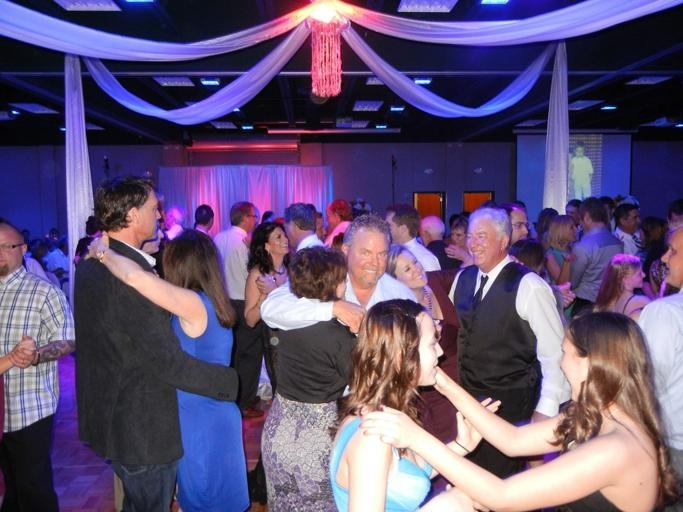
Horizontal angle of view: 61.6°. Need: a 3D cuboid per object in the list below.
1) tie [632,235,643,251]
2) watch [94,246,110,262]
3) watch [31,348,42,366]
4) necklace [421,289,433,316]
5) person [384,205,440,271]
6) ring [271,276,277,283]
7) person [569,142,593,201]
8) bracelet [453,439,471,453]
[{"bbox_3d":[3.406,-0.148,6.649,0.067,0.220,0.158,-3,2,35],"label":"tie"},{"bbox_3d":[-1.461,-0.013,3.530,0.075,0.050,0.077,41,-6,2],"label":"watch"},{"bbox_3d":[-2.065,0.689,3.922,0.027,0.102,0.100,1,-3,-32],"label":"watch"},{"bbox_3d":[0.643,0.334,4.277,0.049,0.165,0.121,-1,0,-1],"label":"necklace"},{"bbox_3d":[0.656,-0.137,5.343,0.462,0.617,0.747,0,5,-1],"label":"person"},{"bbox_3d":[-0.637,0.220,5.470,0.031,0.045,0.044,-4,-19,-22],"label":"ring"},{"bbox_3d":[5.678,-2.047,13.640,0.542,1.375,0.683,4,5,24],"label":"person"},{"bbox_3d":[0.677,1.060,3.230,0.081,0.023,0.068,36,-1,22],"label":"bracelet"}]
